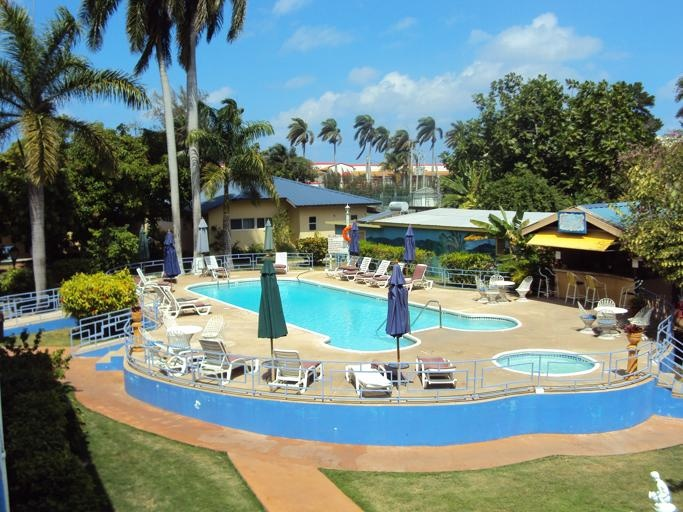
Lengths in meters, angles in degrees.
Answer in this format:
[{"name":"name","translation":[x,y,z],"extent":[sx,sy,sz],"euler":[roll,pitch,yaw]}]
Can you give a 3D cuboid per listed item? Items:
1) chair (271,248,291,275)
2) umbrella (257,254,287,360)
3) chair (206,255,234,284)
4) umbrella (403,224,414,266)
[{"name":"chair","translation":[-3.853,0.383,34.863],"extent":[0.807,1.008,1.514],"euler":[0,5,3]},{"name":"umbrella","translation":[-2.013,1.235,15.824],"extent":[0.749,2.112,1.012],"euler":[-2,14,-8]},{"name":"chair","translation":[-7.678,0.630,33.782],"extent":[1.213,1.052,2.561],"euler":[-2,8,-26]},{"name":"umbrella","translation":[3.343,-0.660,26.888],"extent":[0.482,1.584,1.256],"euler":[3,14,11]}]
